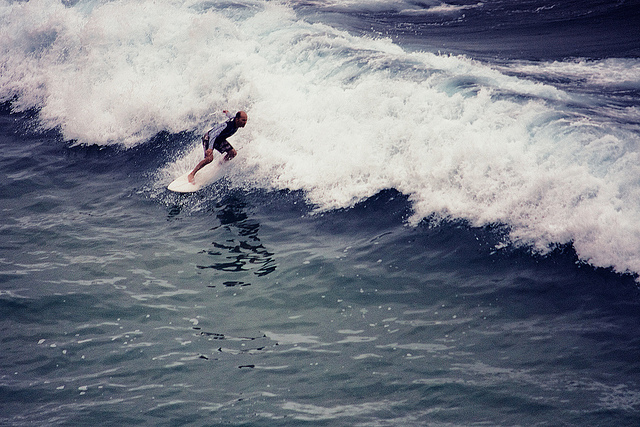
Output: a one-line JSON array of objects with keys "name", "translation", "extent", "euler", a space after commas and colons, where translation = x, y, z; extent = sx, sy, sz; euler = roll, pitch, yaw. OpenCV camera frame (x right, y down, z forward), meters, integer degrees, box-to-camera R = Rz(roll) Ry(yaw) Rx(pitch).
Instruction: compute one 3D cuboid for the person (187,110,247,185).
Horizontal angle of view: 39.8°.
[{"name": "person", "translation": [-2.832, -1.915, 24.870], "extent": [1.404, 2.088, 0.611], "euler": [5, 20, -5]}]
